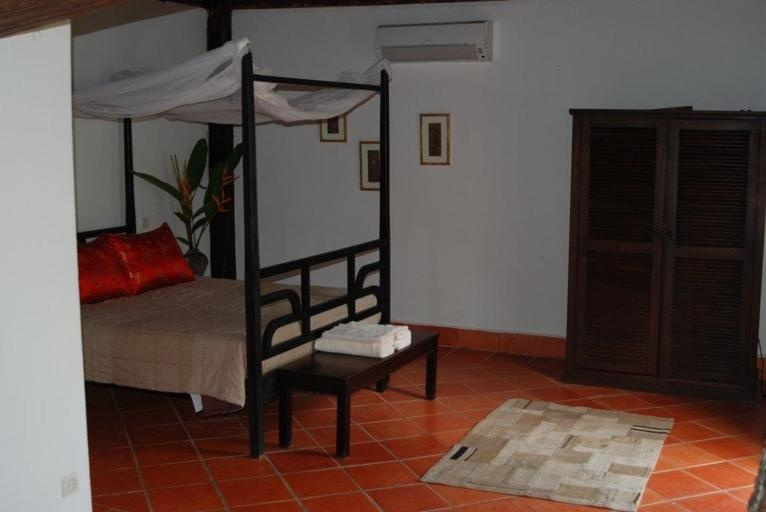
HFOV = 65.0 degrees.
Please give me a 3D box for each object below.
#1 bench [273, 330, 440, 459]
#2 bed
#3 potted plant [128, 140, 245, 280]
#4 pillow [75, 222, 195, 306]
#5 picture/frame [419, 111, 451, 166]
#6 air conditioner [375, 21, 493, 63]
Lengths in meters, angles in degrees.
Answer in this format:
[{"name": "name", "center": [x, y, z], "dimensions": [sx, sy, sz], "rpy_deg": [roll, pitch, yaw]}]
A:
[{"name": "bench", "center": [-0.130, 1.050, 4.990], "dimensions": [0.641, 0.665, 1.598], "rpy_deg": [10, 16, 38]}, {"name": "bed", "center": [-1.701, -0.227, 5.918], "dimensions": [2.789, 3.056, 3.332], "rpy_deg": [2, 9, 13]}, {"name": "potted plant", "center": [-2.198, -0.690, 7.659], "dimensions": [1.574, 1.548, 1.645], "rpy_deg": [-5, 9, -38]}, {"name": "pillow", "center": [-2.392, 0.085, 5.667], "dimensions": [0.314, 0.642, 1.113], "rpy_deg": [-24, -4, 42]}, {"name": "picture/frame", "center": [0.586, -1.302, 6.683], "dimensions": [0.344, 0.564, 0.142], "rpy_deg": [2, 14, 8]}, {"name": "air conditioner", "center": [0.543, -2.313, 6.500], "dimensions": [1.300, 0.395, 0.190], "rpy_deg": [4, 14, 17]}]
